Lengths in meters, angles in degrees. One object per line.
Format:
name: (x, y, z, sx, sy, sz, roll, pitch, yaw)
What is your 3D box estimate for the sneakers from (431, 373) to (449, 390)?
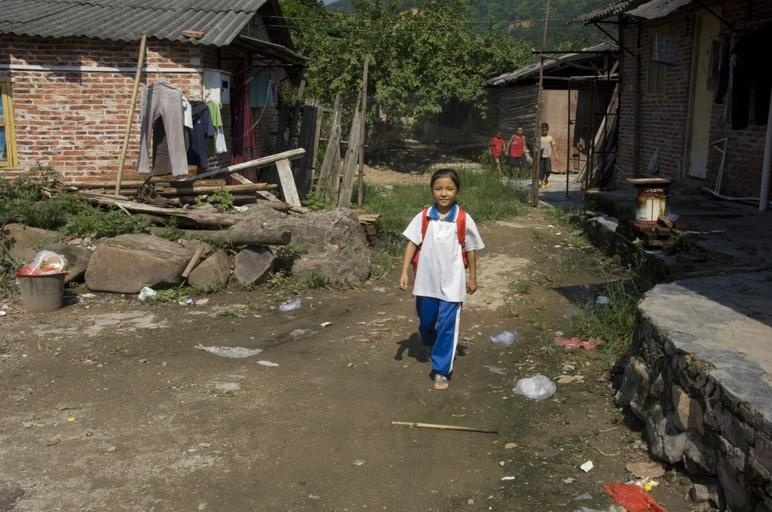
sneakers: (0.614, 1.389, 6.674, 0.170, 0.151, 0.208, 4, 16, 4)

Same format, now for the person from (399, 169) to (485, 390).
person: (0.590, 0.229, 6.716, 0.790, 2.356, 0.674, 14, 19, 36)

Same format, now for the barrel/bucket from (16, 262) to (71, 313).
barrel/bucket: (-4.966, 0.504, 8.581, 0.612, 0.519, 0.634, 0, 4, 0)

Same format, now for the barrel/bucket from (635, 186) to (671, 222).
barrel/bucket: (4.275, -0.865, 9.755, 0.523, 0.579, 0.532, 0, 10, 0)
